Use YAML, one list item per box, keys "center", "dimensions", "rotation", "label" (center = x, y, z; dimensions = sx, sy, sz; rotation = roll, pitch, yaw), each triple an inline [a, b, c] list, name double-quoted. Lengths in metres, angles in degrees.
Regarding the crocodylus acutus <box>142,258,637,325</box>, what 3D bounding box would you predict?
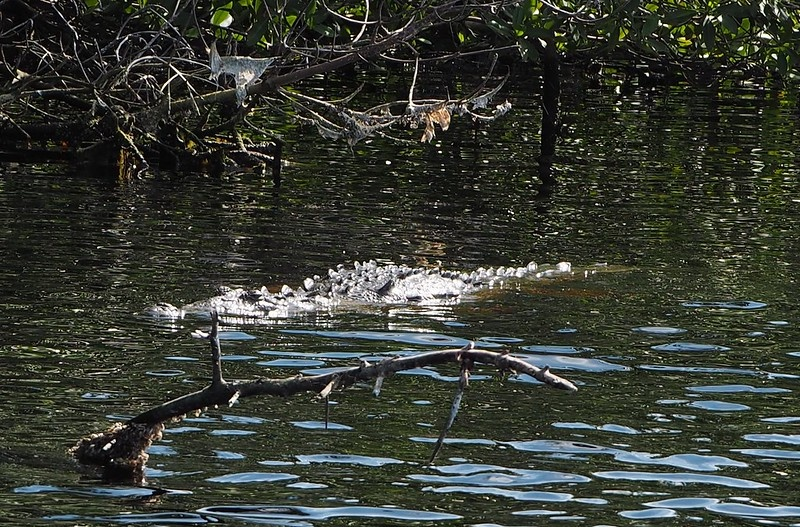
- center: [-0.122, 0.268, 15.117]
  dimensions: [4.750, 0.341, 1.281]
  rotation: [-3, 8, -20]
  label: "crocodylus acutus"
